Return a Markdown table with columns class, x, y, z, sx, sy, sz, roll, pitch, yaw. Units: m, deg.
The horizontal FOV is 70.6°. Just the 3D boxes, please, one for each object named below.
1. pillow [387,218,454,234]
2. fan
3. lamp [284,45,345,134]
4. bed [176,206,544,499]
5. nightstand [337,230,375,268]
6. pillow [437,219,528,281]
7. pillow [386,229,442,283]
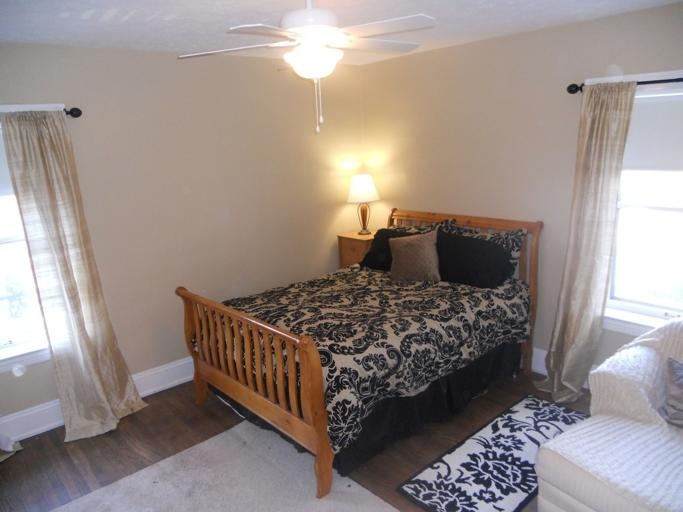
| class | x | y | z | sx | sy | sz | roll | pitch | yaw |
| --- | --- | --- | --- | --- | --- | --- | --- | --- | --- |
| pillow | 0.812 | -0.283 | 4.655 | 0.280 | 0.078 | 0.281 | -10 | 15 | -38 |
| fan | -0.057 | -1.201 | 2.619 | 1.022 | 0.219 | 0.680 | -2 | 14 | -4 |
| lamp | -0.136 | -0.925 | 2.741 | 0.293 | 0.336 | 0.300 | -3 | 5 | 15 |
| bed | 0.099 | 0.664 | 4.161 | 2.093 | 1.252 | 1.646 | -11 | 5 | -40 |
| nightstand | 0.165 | -0.088 | 5.393 | 0.386 | 0.486 | 0.348 | 0 | 38 | 2 |
| pillow | 1.242 | -0.034 | 4.183 | 0.453 | 0.345 | 0.053 | 24 | 4 | 34 |
| pillow | 0.656 | 0.013 | 4.269 | 0.426 | 0.445 | 0.160 | -3 | -12 | 28 |
